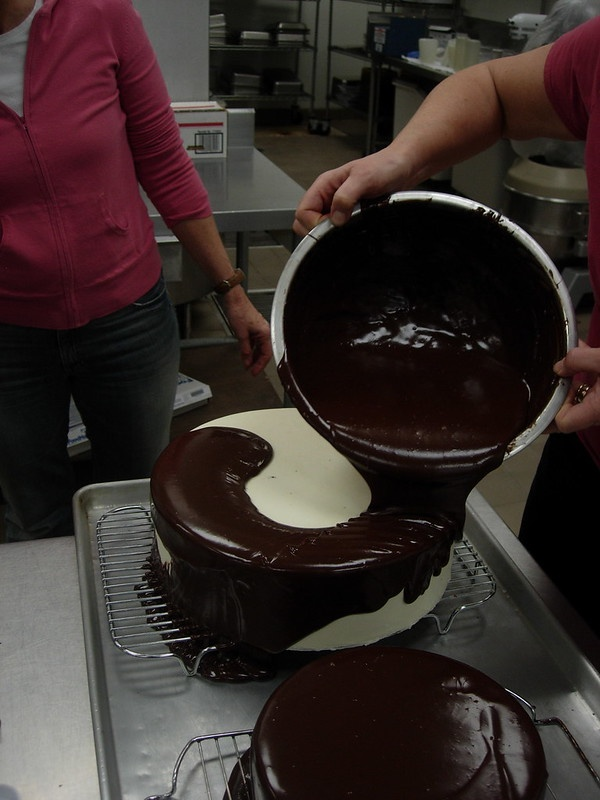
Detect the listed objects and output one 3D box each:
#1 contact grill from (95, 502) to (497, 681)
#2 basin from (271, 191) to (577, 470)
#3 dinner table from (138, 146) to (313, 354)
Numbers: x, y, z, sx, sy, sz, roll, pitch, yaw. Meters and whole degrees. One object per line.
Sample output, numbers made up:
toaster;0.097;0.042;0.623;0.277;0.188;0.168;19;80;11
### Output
contact grill;-0.046;0.291;0.960;0.393;0.075;0.267;-5;32;-13
basin;0.209;-0.084;1.057;0.213;0.545;0.584;2;21;36
dinner table;-0.200;-0.538;2.710;0.668;0.410;0.909;-4;52;-1
